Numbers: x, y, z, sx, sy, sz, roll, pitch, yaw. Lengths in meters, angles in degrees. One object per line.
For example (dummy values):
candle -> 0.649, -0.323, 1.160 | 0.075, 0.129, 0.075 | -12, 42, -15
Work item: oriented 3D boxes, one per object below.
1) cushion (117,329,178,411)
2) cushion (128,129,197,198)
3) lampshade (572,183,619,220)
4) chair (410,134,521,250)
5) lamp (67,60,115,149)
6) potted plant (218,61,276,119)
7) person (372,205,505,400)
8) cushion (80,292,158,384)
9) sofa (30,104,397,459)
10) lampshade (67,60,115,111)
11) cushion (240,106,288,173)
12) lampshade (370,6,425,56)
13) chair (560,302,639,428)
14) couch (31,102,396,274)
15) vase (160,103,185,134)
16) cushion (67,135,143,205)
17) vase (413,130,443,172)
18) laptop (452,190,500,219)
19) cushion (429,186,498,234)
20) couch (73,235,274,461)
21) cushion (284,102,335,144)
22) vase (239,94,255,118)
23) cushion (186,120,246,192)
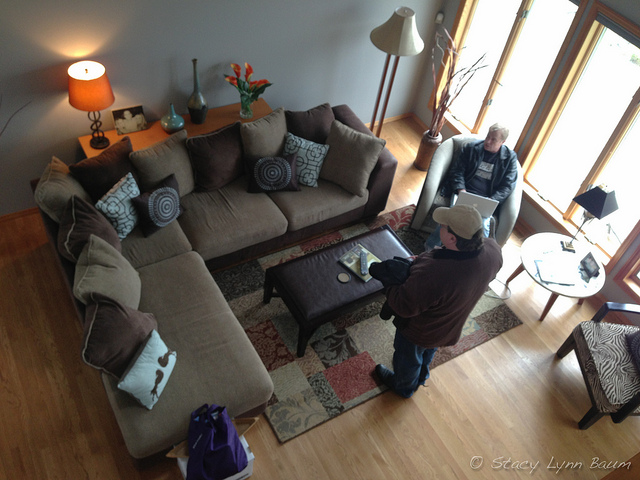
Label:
cushion -> -1.286, 1.012, 3.659 | 0.247, 0.297, 0.518 | 24, 53, -1
cushion -> -1.537, -0.724, 4.657 | 0.527, 0.516, 0.271 | -37, 47, -21
lampshade -> 2.667, -0.351, 4.576 | 0.329, 0.197, 0.330 | -30, 62, -24
chair -> 1.649, -0.360, 5.725 | 1.250, 1.175, 1.336 | 17, 57, 8
lamp -> -2.271, -1.306, 4.759 | 0.364, 0.773, 0.397 | 10, 34, 6
potted plant -> -0.841, -1.746, 5.532 | 0.610, 0.664, 0.655 | -5, 47, -12
person -> 0.920, 0.601, 3.848 | 0.810, 1.891, 0.379 | -2, 39, -5
cushion -> -1.540, 0.711, 3.512 | 0.180, 0.609, 0.646 | -12, 50, 39
sofa -> -1.176, 1.156, 5.506 | 3.166, 0.989, 2.628 | -23, 62, -19
lampshade -> -2.284, -1.533, 4.647 | 0.454, 0.366, 0.462 | 22, 35, 23
cushion -> -0.590, -1.039, 5.016 | 0.571, 0.582, 0.188 | -34, 30, -33
lampshade -> 0.839, -2.184, 5.258 | 0.533, 0.317, 0.550 | -21, 63, -14
chair -> 2.529, 1.171, 4.266 | 0.581, 0.794, 0.593 | -12, 46, -4
couch -> -0.904, -0.501, 5.005 | 3.293, 1.274, 1.143 | -19, 48, -21
vase -> -1.593, -1.338, 5.100 | 0.242, 0.335, 0.252 | -18, 58, -25
cushion -> -2.004, -0.645, 4.465 | 0.515, 0.496, 0.272 | -32, 42, -22
vase -> 1.365, -1.118, 6.120 | 0.301, 0.522, 0.279 | 14, 41, 14
laptop -> 1.646, -0.381, 5.034 | 0.380, 0.267, 0.284 | 12, 42, 9
cushion -> 1.467, -0.453, 5.114 | 0.520, 0.367, 0.549 | 5, 51, 2
couch -> -1.208, 0.731, 3.949 | 1.416, 0.733, 1.788 | -29, 54, -34
cushion -> -0.112, -1.195, 5.323 | 0.578, 0.559, 0.318 | 2, 26, 12
vase -> -0.820, -1.518, 5.349 | 0.141, 0.238, 0.165 | 10, 45, 4
cushion -> -1.066, -0.833, 4.902 | 0.604, 0.498, 0.221 | -42, 17, -27
